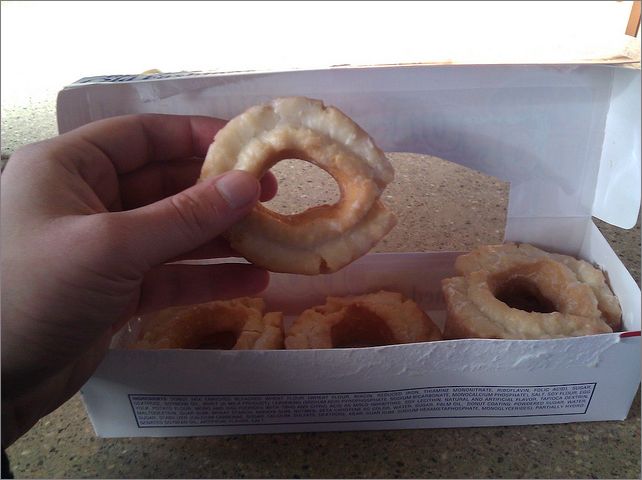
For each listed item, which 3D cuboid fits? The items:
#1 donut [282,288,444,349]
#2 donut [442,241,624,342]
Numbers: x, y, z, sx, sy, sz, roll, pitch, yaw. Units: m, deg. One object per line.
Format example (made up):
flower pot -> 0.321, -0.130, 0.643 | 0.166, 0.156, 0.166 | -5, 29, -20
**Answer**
donut -> 0.090, 0.208, 1.111 | 0.337, 0.117, 0.161 | -3, 34, -1
donut -> 0.446, 0.118, 1.068 | 0.228, 0.087, 0.249 | 2, 31, 17
